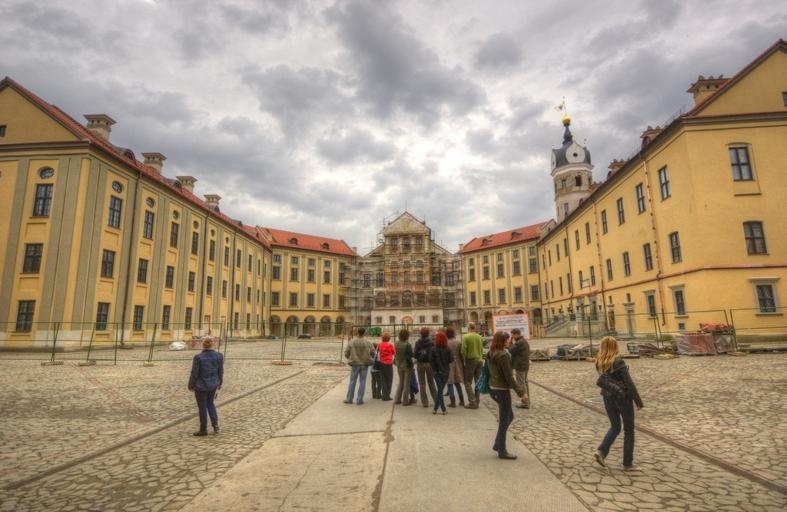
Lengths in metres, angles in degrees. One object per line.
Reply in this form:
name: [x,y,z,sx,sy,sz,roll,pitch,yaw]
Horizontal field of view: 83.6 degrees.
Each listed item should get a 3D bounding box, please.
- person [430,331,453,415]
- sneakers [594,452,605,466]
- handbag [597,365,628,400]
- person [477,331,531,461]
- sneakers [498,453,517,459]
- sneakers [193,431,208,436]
person: [1.627,3.797,14.605,0.686,2.647,1.111,-1,4,5]
sneakers: [5.089,4.934,10.811,0.245,0.363,0.265,0,4,23]
handbag: [5.494,3.123,10.954,0.605,0.287,0.713,23,-35,27]
person: [2.903,3.564,11.515,0.851,3.126,0.992,-1,4,7]
sneakers: [2.926,5.074,11.269,0.496,0.166,0.166,-1,-2,1]
sneakers: [-5.607,5.155,12.802,0.386,0.148,0.152,6,-15,-3]
